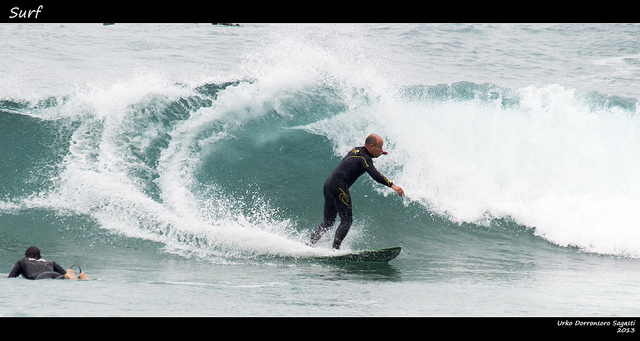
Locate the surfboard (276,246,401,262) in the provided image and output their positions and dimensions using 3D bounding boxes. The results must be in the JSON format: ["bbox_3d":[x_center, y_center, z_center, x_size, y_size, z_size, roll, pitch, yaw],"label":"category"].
[{"bbox_3d":[0.498,2.721,21.543,5.300,0.439,0.368,1,25,-4],"label":"surfboard"}]

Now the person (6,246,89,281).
[{"bbox_3d":[-8.720,2.755,20.316,1.892,0.626,1.308,1,-4,40],"label":"person"}]

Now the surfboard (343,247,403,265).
[{"bbox_3d":[1.729,2.804,21.631,3.149,0.315,0.374,-5,11,-18],"label":"surfboard"}]
